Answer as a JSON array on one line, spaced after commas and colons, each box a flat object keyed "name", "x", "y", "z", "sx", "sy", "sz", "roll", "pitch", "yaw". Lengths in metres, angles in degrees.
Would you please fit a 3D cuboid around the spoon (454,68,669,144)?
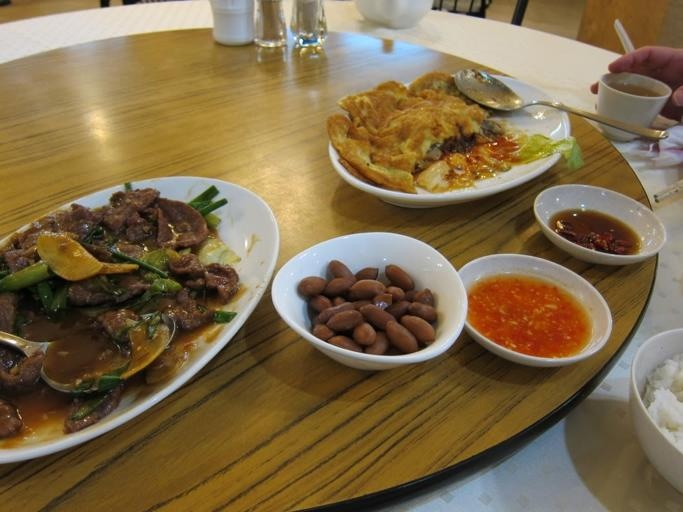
[{"name": "spoon", "x": 0.835, "y": -0.604, "z": 1.993, "sx": 0.188, "sy": 0.100, "sz": 0.845, "roll": -24, "pitch": 43, "yaw": -30}]

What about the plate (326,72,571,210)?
[{"name": "plate", "x": 0.425, "y": -0.498, "z": 1.946, "sx": 0.987, "sy": 0.435, "sz": 0.705, "roll": 13, "pitch": 26, "yaw": 29}]

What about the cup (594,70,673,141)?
[{"name": "cup", "x": 1.258, "y": -0.660, "z": 2.215, "sx": 0.276, "sy": 0.205, "sz": 0.282, "roll": 2, "pitch": 37, "yaw": -2}]

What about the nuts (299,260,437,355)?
[{"name": "nuts", "x": 0.068, "y": 0.137, "z": 1.266, "sx": 0.268, "sy": 0.106, "sz": 0.246, "roll": -3, "pitch": 38, "yaw": -13}]

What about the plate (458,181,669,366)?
[{"name": "plate", "x": 0.646, "y": 0.027, "z": 1.478, "sx": 0.401, "sy": 0.097, "sz": 0.815, "roll": 32, "pitch": 53, "yaw": 27}]
